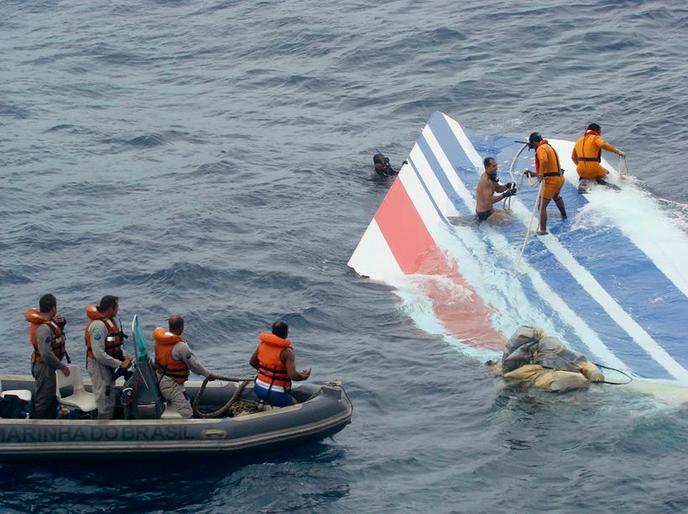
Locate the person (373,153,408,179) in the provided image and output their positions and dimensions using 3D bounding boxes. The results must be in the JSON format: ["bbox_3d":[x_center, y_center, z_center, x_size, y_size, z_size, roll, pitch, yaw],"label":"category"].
[{"bbox_3d":[1.070,-2.438,39.667,0.772,0.783,0.378,-5,37,19],"label":"person"}]

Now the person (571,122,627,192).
[{"bbox_3d":[6.301,-2.381,36.001,0.904,1.759,1.182,-3,28,-35],"label":"person"}]
